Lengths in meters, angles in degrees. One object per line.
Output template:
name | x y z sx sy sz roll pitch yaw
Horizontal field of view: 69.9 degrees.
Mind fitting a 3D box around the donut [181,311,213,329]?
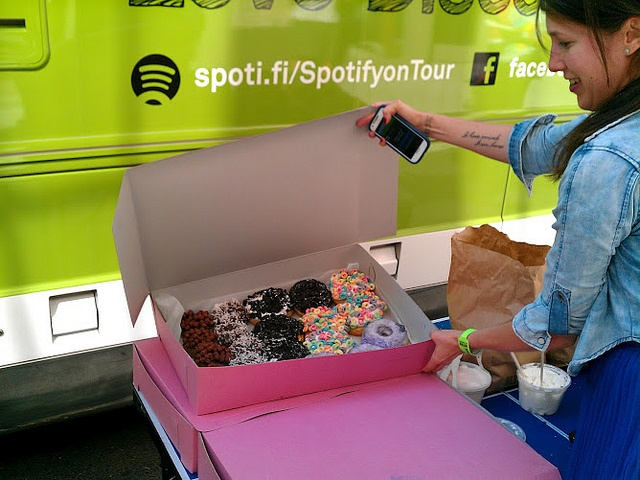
donut | -0.518 0.338 1.927 0.094 0.033 0.070 -4 9 -36

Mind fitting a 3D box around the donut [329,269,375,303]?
donut | 0.136 0.219 2.201 0.161 0.053 0.156 -24 43 -17

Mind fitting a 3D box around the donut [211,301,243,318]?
donut | -0.404 0.306 2.021 0.074 0.037 0.086 -1 3 -26

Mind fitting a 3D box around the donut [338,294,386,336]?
donut | 0.199 0.310 2.077 0.188 0.063 0.161 -27 41 -31
